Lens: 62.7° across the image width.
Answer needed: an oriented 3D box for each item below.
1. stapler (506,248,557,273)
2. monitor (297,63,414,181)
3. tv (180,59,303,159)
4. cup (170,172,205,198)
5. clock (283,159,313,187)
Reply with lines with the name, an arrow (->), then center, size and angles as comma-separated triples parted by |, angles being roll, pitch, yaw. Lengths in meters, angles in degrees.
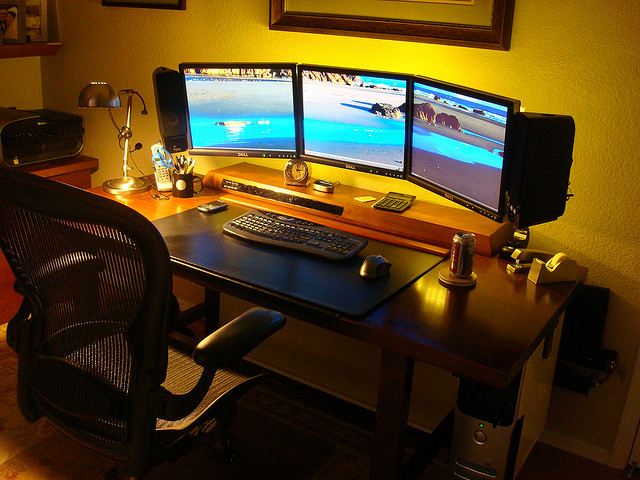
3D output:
stapler -> 0.849, 0.071, 2.088 | 0.249, 0.095, 0.075 | -8, 22, -15
monitor -> 0.138, -0.537, 2.349 | 0.561, 0.448, 0.028 | 13, 25, 28
tv -> -0.360, -0.641, 2.526 | 0.508, 0.387, 0.057 | 2, 33, 4
cup -> -0.666, -0.281, 2.630 | 0.164, 0.122, 0.101 | -1, 20, -19
clock -> -0.098, -0.341, 2.600 | 0.160, 0.186, 0.118 | 3, 9, 11
